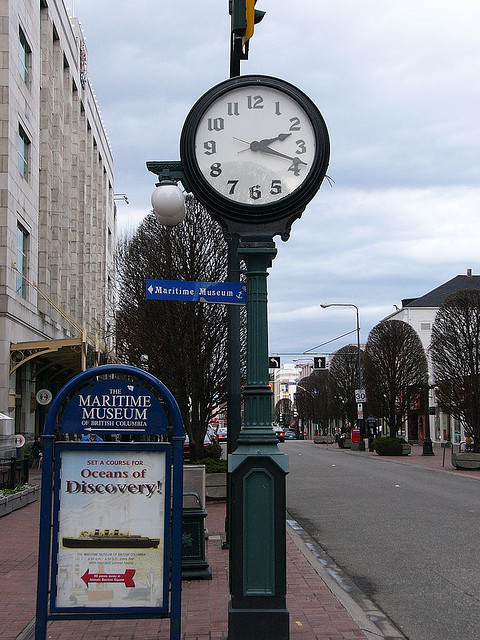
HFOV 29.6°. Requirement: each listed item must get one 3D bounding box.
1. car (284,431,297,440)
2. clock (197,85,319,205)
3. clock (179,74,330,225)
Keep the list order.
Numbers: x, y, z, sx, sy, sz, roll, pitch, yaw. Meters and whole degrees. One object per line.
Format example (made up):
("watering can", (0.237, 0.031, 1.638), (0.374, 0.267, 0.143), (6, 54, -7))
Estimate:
("car", (5.091, 11.753, 92.596), (0.920, 0.958, 2.468), (2, 0, 4))
("clock", (0.108, -1.270, 6.871), (1.032, 0.118, 1.274), (-1, -42, -1))
("clock", (0.115, -1.259, 6.865), (1.147, 0.118, 1.395), (-1, -42, 1))
